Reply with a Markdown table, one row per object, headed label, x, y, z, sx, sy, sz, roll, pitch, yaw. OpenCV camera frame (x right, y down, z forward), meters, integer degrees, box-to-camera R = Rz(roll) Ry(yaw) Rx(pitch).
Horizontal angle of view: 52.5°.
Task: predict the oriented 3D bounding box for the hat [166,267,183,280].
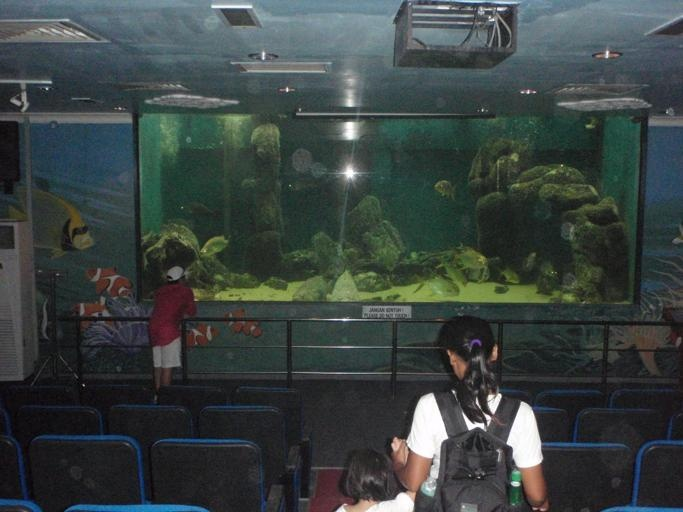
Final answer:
| label | x | y | z | sx | sy | sz | roll | pitch | yaw |
| --- | --- | --- | --- | --- | --- | --- | --- | --- | --- |
| hat | -2.232 | 0.240 | 9.316 | 0.172 | 0.215 | 0.102 | 2 | -77 | 13 |

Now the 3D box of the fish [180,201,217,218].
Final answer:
| label | x | y | z | sx | sy | sz | roll | pitch | yaw |
| --- | --- | --- | --- | --- | --- | --- | --- | --- | --- |
| fish | -2.122 | -0.706 | 10.679 | 0.694 | 0.169 | 0.263 | 6 | -76 | -8 |

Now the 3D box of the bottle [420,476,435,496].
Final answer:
| label | x | y | z | sx | sy | sz | roll | pitch | yaw |
| --- | --- | --- | --- | --- | --- | --- | --- | --- | --- |
| bottle | 0.627 | 1.703 | 5.131 | 0.137 | 0.121 | 0.125 | 13 | -28 | -7 |

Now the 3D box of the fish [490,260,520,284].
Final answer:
| label | x | y | z | sx | sy | sz | roll | pitch | yaw |
| --- | --- | --- | --- | --- | --- | --- | --- | --- | --- |
| fish | 2.459 | 0.254 | 10.532 | 0.274 | 0.100 | 0.421 | -44 | -92 | -6 |
